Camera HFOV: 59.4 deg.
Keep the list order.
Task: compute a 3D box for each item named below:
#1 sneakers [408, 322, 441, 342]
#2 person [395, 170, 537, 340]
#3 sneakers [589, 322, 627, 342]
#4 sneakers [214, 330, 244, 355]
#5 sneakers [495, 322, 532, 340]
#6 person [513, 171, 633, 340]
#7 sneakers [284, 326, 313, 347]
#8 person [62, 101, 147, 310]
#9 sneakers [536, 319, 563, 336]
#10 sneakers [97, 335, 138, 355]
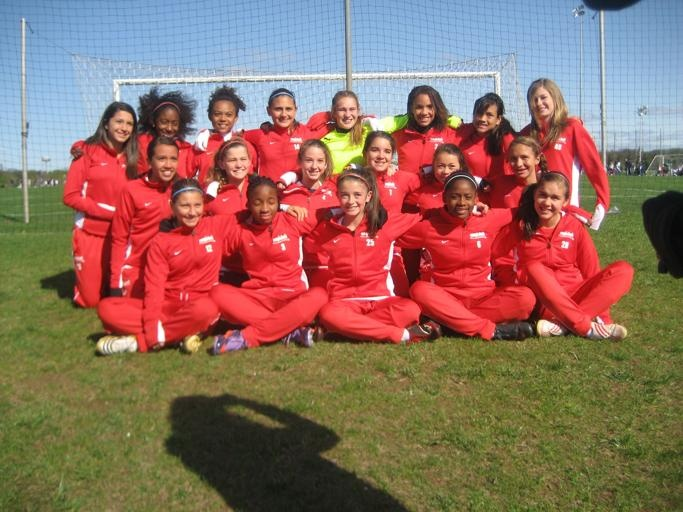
[{"bbox_3d":[0.835,0.756,6.186,0.401,0.183,0.148,-10,16,-2],"label":"sneakers"},{"bbox_3d":[1.279,-0.016,6.448,1.585,1.693,1.113,0,6,34],"label":"person"},{"bbox_3d":[2.646,0.763,6.028,0.381,0.186,0.163,-3,30,19],"label":"sneakers"},{"bbox_3d":[-1.135,0.877,6.115,0.385,0.199,0.148,-2,13,-41],"label":"sneakers"},{"bbox_3d":[1.771,0.775,6.147,0.303,0.206,0.132,-1,10,3],"label":"sneakers"},{"bbox_3d":[2.388,-0.025,6.304,1.092,1.841,1.419,1,-4,-15],"label":"person"},{"bbox_3d":[-0.424,0.814,6.158,0.362,0.191,0.140,3,11,28],"label":"sneakers"},{"bbox_3d":[-3.129,-0.393,7.957,1.062,3.244,0.938,-8,35,-34],"label":"person"},{"bbox_3d":[2.129,0.744,6.201,0.284,0.140,0.131,5,5,-10],"label":"sneakers"},{"bbox_3d":[-2.317,0.901,6.190,0.380,0.205,0.182,-6,0,-23],"label":"sneakers"}]
